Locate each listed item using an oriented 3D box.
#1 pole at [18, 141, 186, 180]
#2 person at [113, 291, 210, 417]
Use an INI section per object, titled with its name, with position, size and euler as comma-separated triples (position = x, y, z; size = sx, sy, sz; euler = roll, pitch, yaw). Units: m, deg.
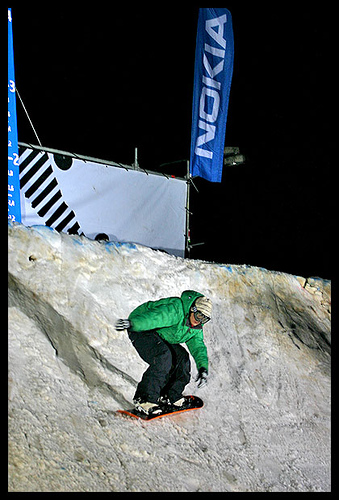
[pole]
position = -1.121, -1.360, 7.733
size = 3.211, 0.131, 0.063
euler = 16, 23, 23
[person]
position = -0.158, 1.233, 6.452
size = 1.292, 1.683, 0.943
euler = 18, -1, -19
